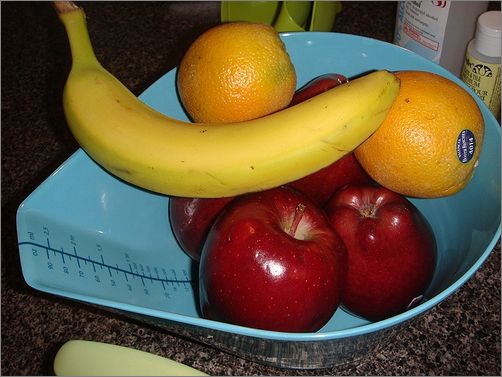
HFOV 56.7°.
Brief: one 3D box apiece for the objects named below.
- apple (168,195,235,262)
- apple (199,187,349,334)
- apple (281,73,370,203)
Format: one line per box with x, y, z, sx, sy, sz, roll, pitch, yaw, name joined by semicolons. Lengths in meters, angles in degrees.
-0.085;0.027;0.736;0.093;0.130;0.107;6;30;-15;apple
0.032;0.092;0.630;0.186;0.106;0.190;6;55;4;apple
0.116;-0.105;0.796;0.153;0.221;0.163;5;19;15;apple
